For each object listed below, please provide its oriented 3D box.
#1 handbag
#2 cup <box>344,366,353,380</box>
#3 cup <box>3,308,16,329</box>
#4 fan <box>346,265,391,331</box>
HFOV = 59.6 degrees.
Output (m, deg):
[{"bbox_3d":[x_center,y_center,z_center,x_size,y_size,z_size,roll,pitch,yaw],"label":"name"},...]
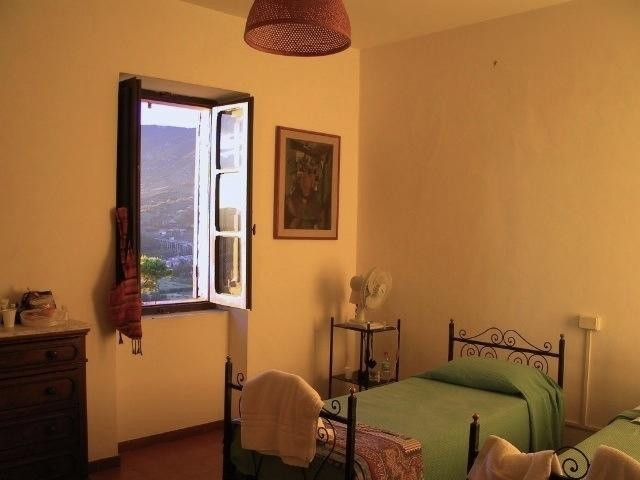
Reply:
[{"bbox_3d":[-1.561,0.263,4.503,0.284,1.050,0.106,1,1,12],"label":"handbag"},{"bbox_3d":[0.290,1.354,5.658,0.084,0.103,0.088,2,6,0],"label":"cup"},{"bbox_3d":[-2.184,0.554,3.923,0.108,0.145,0.120,3,-5,-16],"label":"cup"},{"bbox_3d":[0.487,0.567,5.553,0.401,0.597,0.468,4,1,-6],"label":"fan"}]
